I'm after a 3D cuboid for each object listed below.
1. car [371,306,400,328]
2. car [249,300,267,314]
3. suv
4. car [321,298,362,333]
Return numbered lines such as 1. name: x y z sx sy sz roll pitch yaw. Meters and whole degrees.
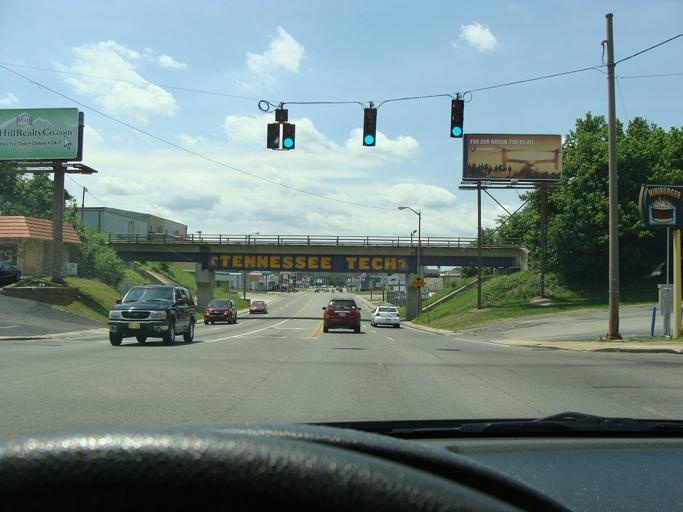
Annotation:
1. car: 2.758 3.868 62.698 1.540 1.277 2.281 0 -2 -5
2. car: -7.224 4.553 86.597 0.881 0.757 1.636 -1 -10 -2
3. suv: -7.461 2.393 40.462 2.005 1.566 3.527 -2 -8 8
4. car: 0.033 3.195 52.638 1.891 1.764 1.513 0 -2 -2
